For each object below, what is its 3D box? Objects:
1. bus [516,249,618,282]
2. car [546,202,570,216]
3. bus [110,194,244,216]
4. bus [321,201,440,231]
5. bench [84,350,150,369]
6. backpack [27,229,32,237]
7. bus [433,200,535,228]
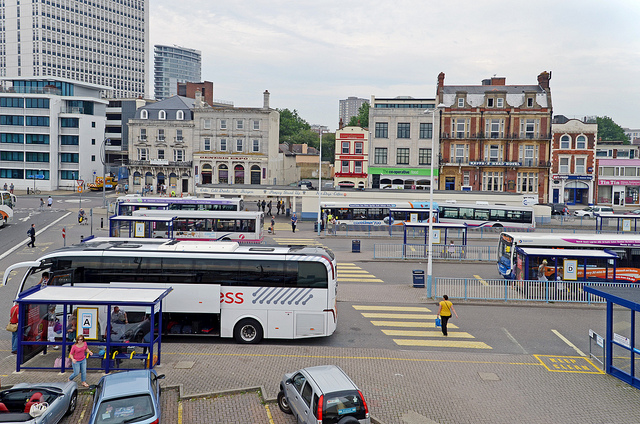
[{"bbox_3d":[18.767,4.153,58.887,6.995,2.389,1.435,0,15,1],"label":"bus"},{"bbox_3d":[29.942,-0.237,97.199,2.970,1.304,1.859,3,9,10],"label":"car"},{"bbox_3d":[-14.661,-0.623,80.910,8.931,2.202,2.408,1,3,-1],"label":"bus"},{"bbox_3d":[6.332,0.226,86.783,13.284,2.910,2.944,0,7,5],"label":"bus"},{"bbox_3d":[-12.397,8.954,48.189,3.966,1.275,1.565,0,14,2],"label":"bench"},{"bbox_3d":[-27.283,1.997,72.791,0.567,0.729,0.326,0,14,-4],"label":"backpack"},{"bbox_3d":[18.778,0.506,86.520,11.713,3.366,2.815,4,1,44],"label":"bus"}]
